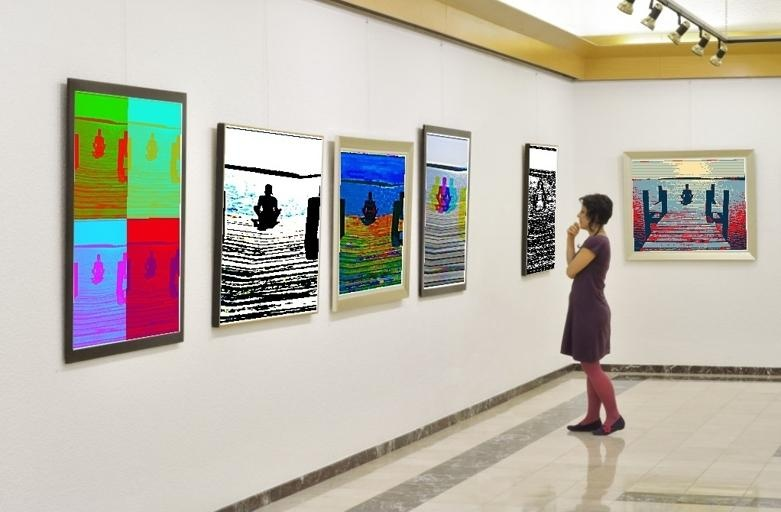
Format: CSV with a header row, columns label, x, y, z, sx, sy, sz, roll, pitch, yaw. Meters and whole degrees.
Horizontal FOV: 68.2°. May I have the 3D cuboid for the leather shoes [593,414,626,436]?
label,x,y,z,sx,sy,sz,roll,pitch,yaw
leather shoes,2.194,1.718,5.844,0.381,0.159,0.140,-12,3,-21

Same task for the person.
label,x,y,z,sx,sy,sz,roll,pitch,yaw
person,2.037,0.586,5.773,0.589,2.408,0.471,1,5,23

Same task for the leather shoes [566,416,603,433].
label,x,y,z,sx,sy,sz,roll,pitch,yaw
leather shoes,1.982,1.712,5.889,0.368,0.156,0.139,1,-3,5

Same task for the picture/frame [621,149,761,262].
label,x,y,z,sx,sy,sz,roll,pitch,yaw
picture/frame,4.105,-0.713,7.742,1.431,1.314,0.066,0,0,0
